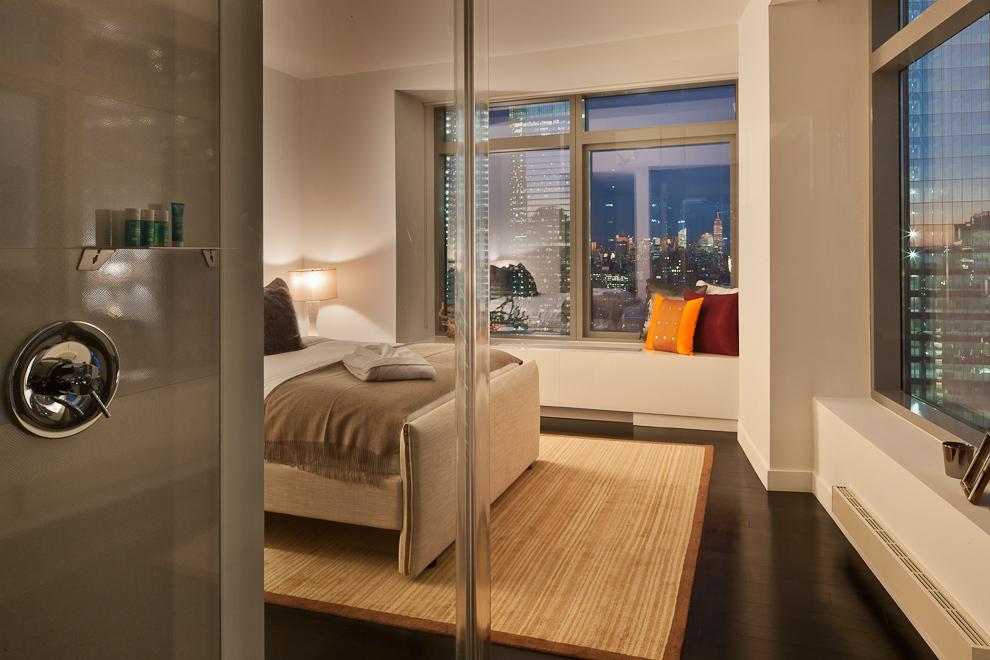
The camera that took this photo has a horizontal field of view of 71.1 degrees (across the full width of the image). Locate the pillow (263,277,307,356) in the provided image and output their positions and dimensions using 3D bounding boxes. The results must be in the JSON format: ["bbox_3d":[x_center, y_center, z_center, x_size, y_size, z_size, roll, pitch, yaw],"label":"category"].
[{"bbox_3d":[-0.356,-0.026,1.158,0.044,0.131,0.121,-6,2,13],"label":"pillow"}]

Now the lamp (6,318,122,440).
[{"bbox_3d":[-0.566,0.062,0.898,0.071,0.157,0.152,-4,0,28],"label":"lamp"}]

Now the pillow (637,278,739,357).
[{"bbox_3d":[1.391,-0.108,5.019,0.644,0.478,0.608,0,7,14],"label":"pillow"}]

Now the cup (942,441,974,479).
[{"bbox_3d":[1.542,0.443,2.364,0.103,0.121,0.108,0,-1,0],"label":"cup"}]

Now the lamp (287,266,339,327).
[{"bbox_3d":[-0.322,-0.064,1.214,0.085,0.139,0.088,7,10,32],"label":"lamp"}]
